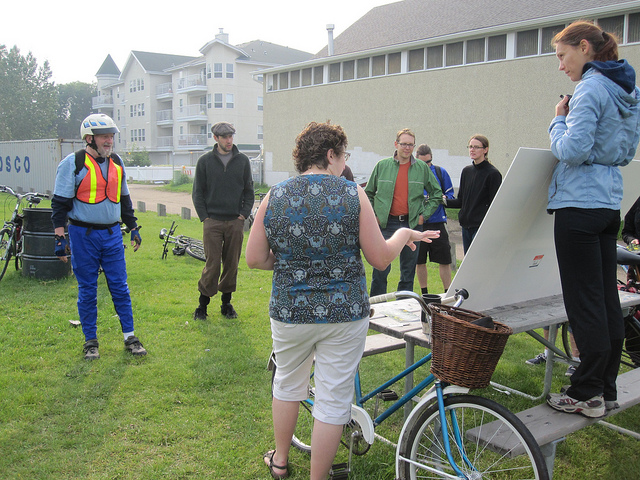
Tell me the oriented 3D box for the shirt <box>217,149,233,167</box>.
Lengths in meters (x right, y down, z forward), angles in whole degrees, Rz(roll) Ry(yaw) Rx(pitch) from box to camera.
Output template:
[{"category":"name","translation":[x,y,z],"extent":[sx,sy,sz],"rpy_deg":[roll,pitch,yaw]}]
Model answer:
[{"category":"shirt","translation":[-1.271,-1.082,7.439],"extent":[0.210,0.128,0.290],"rpy_deg":[0,-3,-14]}]

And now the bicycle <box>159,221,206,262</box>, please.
[{"category":"bicycle","translation":[-2.959,0.329,12.089],"extent":[0.964,0.970,1.599],"rpy_deg":[4,13,-19]}]

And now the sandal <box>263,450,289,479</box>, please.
[{"category":"sandal","translation":[-0.351,1.773,4.410],"extent":[0.115,0.144,0.329],"rpy_deg":[1,6,-12]}]

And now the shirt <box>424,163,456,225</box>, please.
[{"category":"shirt","translation":[1.804,-0.584,8.503],"extent":[0.438,1.082,0.426],"rpy_deg":[6,12,11]}]

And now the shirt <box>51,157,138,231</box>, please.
[{"category":"shirt","translation":[-2.481,-0.543,6.163],"extent":[0.682,0.956,0.558],"rpy_deg":[18,18,38]}]

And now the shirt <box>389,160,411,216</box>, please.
[{"category":"shirt","translation":[1.075,-0.635,7.435],"extent":[0.140,0.593,0.405],"rpy_deg":[4,15,5]}]

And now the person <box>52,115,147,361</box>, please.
[{"category":"person","translation":[-2.445,-0.020,6.112],"extent":[0.808,2.612,0.517],"rpy_deg":[-5,14,-27]}]

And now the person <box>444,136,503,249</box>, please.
[{"category":"person","translation":[2.202,-0.634,7.723],"extent":[0.511,1.514,0.455],"rpy_deg":[6,13,20]}]

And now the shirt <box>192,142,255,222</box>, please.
[{"category":"shirt","translation":[-1.282,-0.777,7.565],"extent":[0.805,1.080,0.496],"rpy_deg":[-1,7,-14]}]

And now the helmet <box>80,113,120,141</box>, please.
[{"category":"helmet","translation":[-2.364,-1.202,5.991],"extent":[0.440,0.249,0.318],"rpy_deg":[5,9,38]}]

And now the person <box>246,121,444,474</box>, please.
[{"category":"person","translation":[-0.019,0.542,3.857],"extent":[1.001,2.601,0.557],"rpy_deg":[3,12,7]}]

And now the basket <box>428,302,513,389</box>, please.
[{"category":"basket","translation":[0.984,0.739,3.777],"extent":[0.538,0.524,0.317],"rpy_deg":[6,13,16]}]

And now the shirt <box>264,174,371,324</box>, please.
[{"category":"shirt","translation":[-0.082,0.059,3.863],"extent":[0.574,1.082,0.602],"rpy_deg":[3,8,-25]}]

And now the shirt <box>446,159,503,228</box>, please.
[{"category":"shirt","translation":[2.132,-0.613,7.770],"extent":[0.728,0.992,0.439],"rpy_deg":[7,1,37]}]
